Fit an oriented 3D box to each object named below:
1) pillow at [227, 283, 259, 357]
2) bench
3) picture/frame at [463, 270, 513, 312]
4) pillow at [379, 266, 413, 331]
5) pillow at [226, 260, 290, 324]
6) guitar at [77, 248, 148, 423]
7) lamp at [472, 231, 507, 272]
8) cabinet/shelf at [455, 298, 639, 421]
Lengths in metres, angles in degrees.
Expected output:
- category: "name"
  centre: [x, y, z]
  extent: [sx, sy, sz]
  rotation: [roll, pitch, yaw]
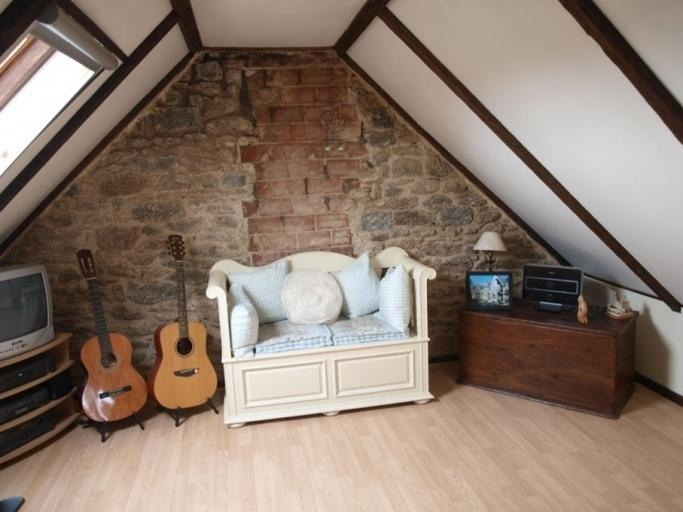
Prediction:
- category: "pillow"
  centre: [-0.801, 0.524, 4.018]
  extent: [0.164, 0.278, 0.495]
  rotation: [-5, 22, -10]
- category: "bench"
  centre: [-0.209, 0.712, 4.170]
  extent: [1.359, 0.999, 0.558]
  rotation: [-4, 10, -10]
- category: "picture/frame"
  centre: [1.305, 0.309, 4.412]
  extent: [0.359, 0.305, 0.038]
  rotation: [0, -1, 2]
- category: "pillow"
  centre: [0.464, 0.383, 4.439]
  extent: [0.251, 0.573, 0.637]
  rotation: [0, -6, -11]
- category: "pillow"
  centre: [-0.714, 0.325, 4.286]
  extent: [0.454, 0.465, 0.167]
  rotation: [-13, -11, -19]
- category: "guitar"
  centre: [-1.836, 0.604, 3.965]
  extent: [0.459, 1.325, 0.307]
  rotation: [-5, 6, -22]
- category: "lamp"
  centre: [1.409, -0.053, 4.766]
  extent: [0.274, 0.378, 0.468]
  rotation: [-1, 5, 15]
- category: "cabinet/shelf"
  centre: [1.700, 0.834, 4.254]
  extent: [1.291, 0.757, 0.444]
  rotation: [1, 6, 34]
